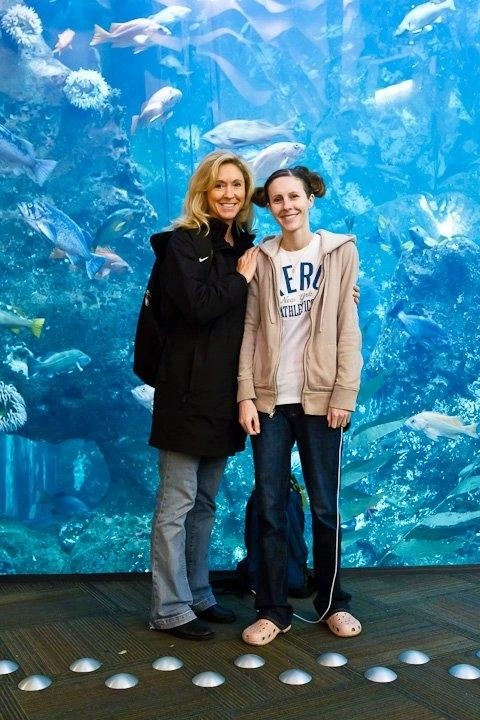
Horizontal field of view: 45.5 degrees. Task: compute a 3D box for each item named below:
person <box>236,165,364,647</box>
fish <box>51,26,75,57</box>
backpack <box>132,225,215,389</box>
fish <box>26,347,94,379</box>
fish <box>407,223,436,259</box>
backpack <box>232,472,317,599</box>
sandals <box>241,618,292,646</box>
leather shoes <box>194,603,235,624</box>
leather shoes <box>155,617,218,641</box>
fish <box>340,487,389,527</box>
[{"bbox_3d":[0.197,0.120,1.874,0.398,1.519,0.322,1,-9,-11],"label":"person"},{"bbox_3d":[-0.857,-1.544,2.779,0.107,0.111,0.031,-2,-9,10],"label":"fish"},{"bbox_3d":[-0.343,-0.185,1.956,0.187,0.476,0.363,19,11,32],"label":"backpack"},{"bbox_3d":[-0.895,0.008,2.856,0.325,0.138,0.104,-9,10,-19],"label":"fish"},{"bbox_3d":[0.938,-0.620,2.949,0.215,0.105,0.074,27,5,-24],"label":"fish"},{"bbox_3d":[0.169,0.711,2.375,0.366,0.495,0.245,10,-6,-8],"label":"backpack"},{"bbox_3d":[0.082,0.842,1.779,0.146,0.054,0.051,-6,25,-40],"label":"sandals"},{"bbox_3d":[-0.083,0.876,1.997,0.140,0.051,0.053,-3,-2,19],"label":"leather shoes"},{"bbox_3d":[-0.181,0.846,1.851,0.198,0.073,0.066,-2,-2,20],"label":"leather shoes"},{"bbox_3d":[0.615,0.741,2.898,0.233,0.148,0.072,-38,6,4],"label":"fish"}]
